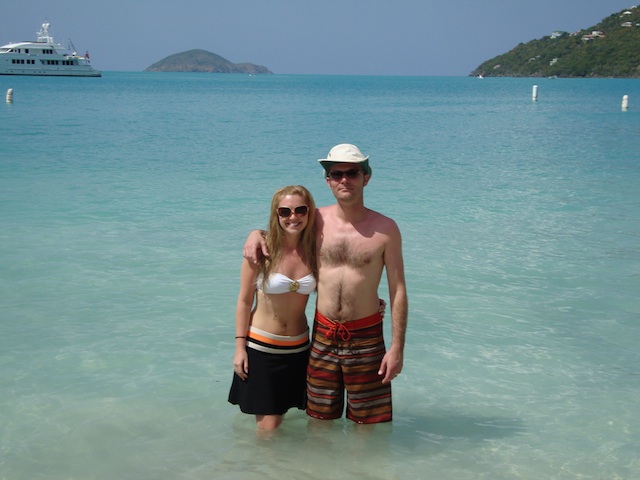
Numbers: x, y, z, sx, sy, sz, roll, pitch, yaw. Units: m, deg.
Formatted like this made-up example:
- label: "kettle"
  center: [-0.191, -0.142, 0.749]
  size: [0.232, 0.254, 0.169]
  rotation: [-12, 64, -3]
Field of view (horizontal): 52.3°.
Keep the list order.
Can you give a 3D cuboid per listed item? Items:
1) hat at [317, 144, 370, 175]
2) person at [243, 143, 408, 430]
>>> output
- label: "hat"
  center: [0.264, -0.821, 6.234]
  size: [0.557, 0.163, 0.560]
  rotation: [-2, 13, 7]
- label: "person"
  center: [0.381, 0.467, 6.280]
  size: [0.915, 2.737, 0.715]
  rotation: [2, 19, 6]
